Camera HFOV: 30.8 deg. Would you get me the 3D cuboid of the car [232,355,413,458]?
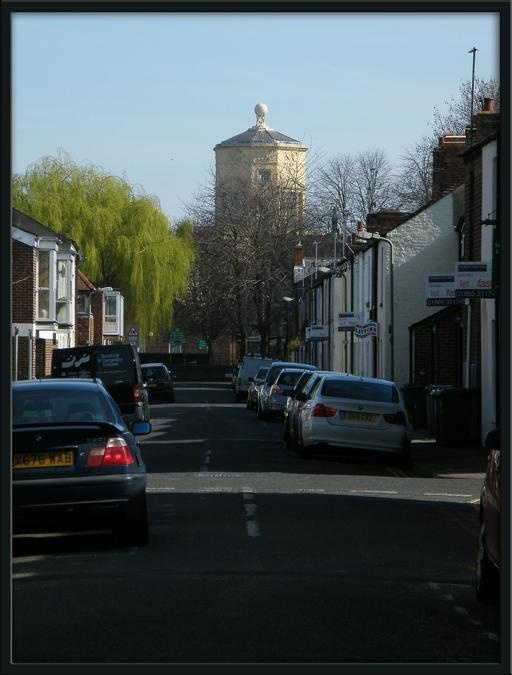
[{"bbox_3d":[1.701,1.406,16.339,1.999,1.511,1.426,1,-2,12],"label":"car"}]
